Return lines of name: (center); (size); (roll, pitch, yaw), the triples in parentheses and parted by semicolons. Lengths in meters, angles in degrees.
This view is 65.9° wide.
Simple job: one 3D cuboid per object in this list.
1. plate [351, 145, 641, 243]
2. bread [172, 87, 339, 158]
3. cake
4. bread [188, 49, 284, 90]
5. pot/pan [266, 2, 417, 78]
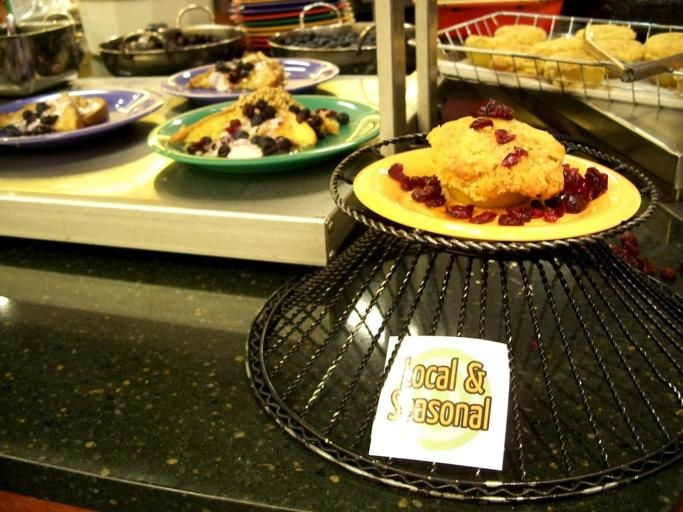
plate: (0.217, -0.093, 0.770); (0.384, 0.059, 0.328); (9, 28, 25)
bread: (-0.197, -0.284, 1.180); (0.270, 0.073, 0.241); (3, 23, 18)
cake: (0.219, -0.142, 0.818); (0.182, 0.093, 0.188); (-31, 41, -34)
bread: (-0.298, -0.520, 1.523); (0.219, 0.059, 0.207); (-20, 26, -35)
pot/pan: (-0.015, -0.789, 1.990); (0.498, 0.143, 0.474); (-2, 25, -6)
